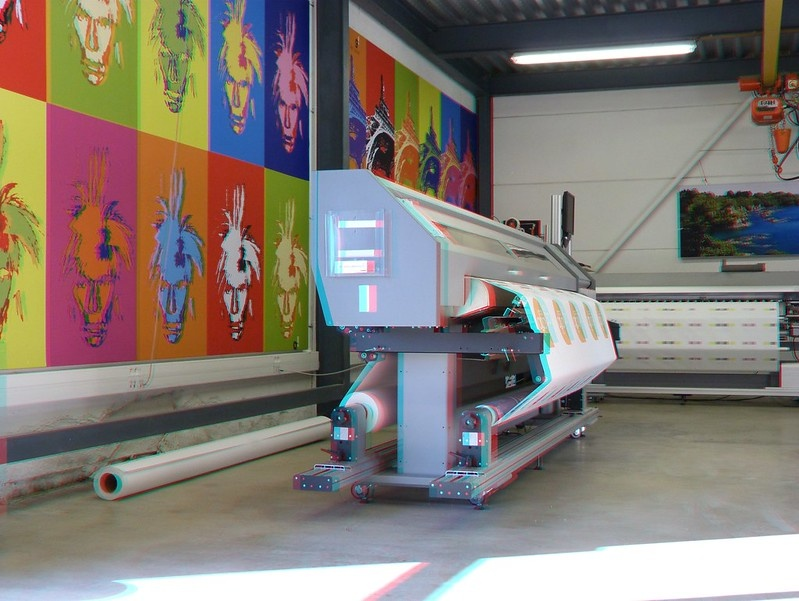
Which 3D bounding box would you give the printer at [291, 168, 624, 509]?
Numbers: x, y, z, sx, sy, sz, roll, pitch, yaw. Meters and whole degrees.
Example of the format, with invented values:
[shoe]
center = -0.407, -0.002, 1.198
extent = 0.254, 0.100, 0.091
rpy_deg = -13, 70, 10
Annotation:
[printer]
center = 0.609, 0.245, 4.171
extent = 1.292, 1.670, 2.559
rpy_deg = -1, -2, 29
